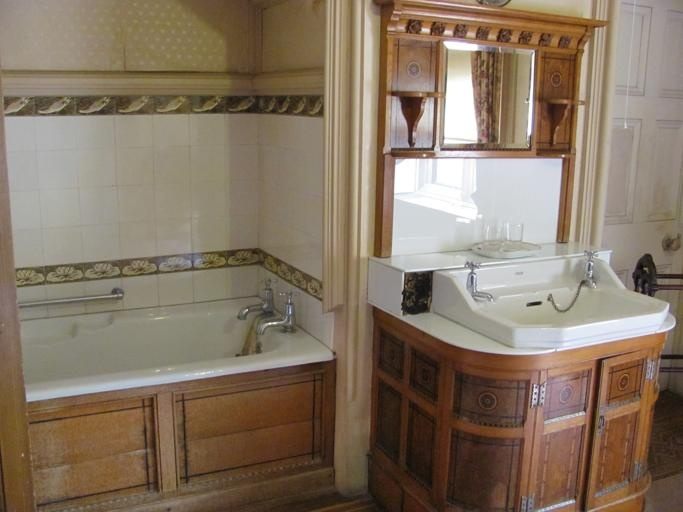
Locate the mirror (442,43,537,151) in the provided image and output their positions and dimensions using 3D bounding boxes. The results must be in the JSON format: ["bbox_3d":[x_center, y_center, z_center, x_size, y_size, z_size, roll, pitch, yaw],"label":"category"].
[{"bbox_3d":[0.805,-0.873,3.210,0.603,0.554,0.060,-1,3,-19],"label":"mirror"}]

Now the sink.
[{"bbox_3d":[1.071,0.241,2.934,1.087,0.364,0.592,-9,15,-21],"label":"sink"}]

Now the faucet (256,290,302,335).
[{"bbox_3d":[-0.431,0.341,3.587,0.327,0.332,0.152,-5,14,-17],"label":"faucet"}]

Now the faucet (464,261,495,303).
[{"bbox_3d":[0.716,0.140,2.985,0.150,0.220,0.216,1,14,15],"label":"faucet"}]

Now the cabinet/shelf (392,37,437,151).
[{"bbox_3d":[0.375,-0.818,3.046,0.246,0.605,0.182,2,35,8],"label":"cabinet/shelf"}]
